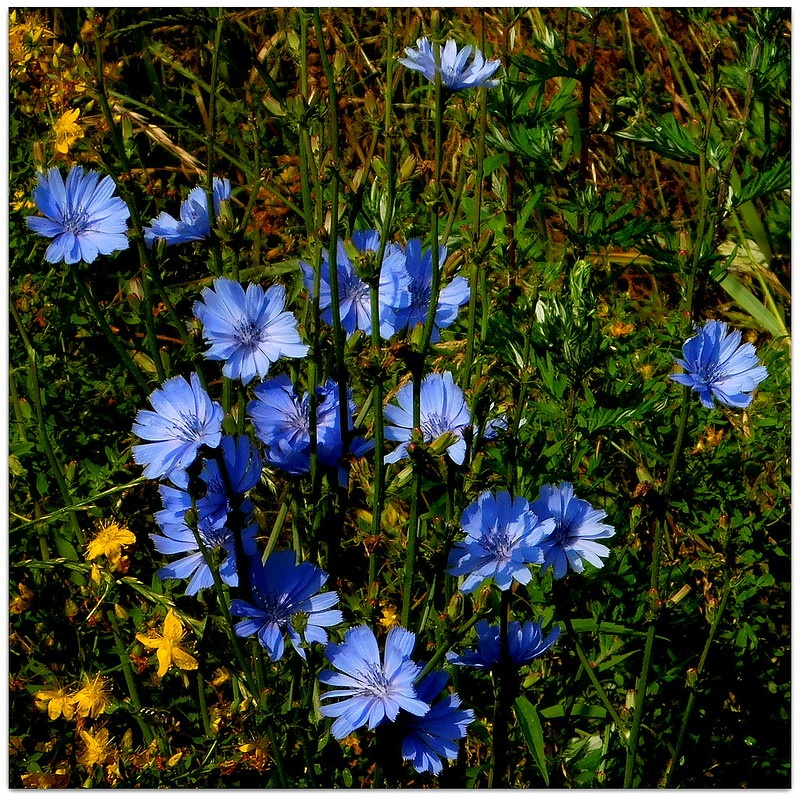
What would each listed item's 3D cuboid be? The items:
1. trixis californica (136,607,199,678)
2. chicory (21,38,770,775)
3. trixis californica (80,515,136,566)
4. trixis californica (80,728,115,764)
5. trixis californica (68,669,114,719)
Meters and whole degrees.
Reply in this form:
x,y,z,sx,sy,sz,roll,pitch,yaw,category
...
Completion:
x,y,z,sx,sy,sz,roll,pitch,yaw,category
-0.469,0.458,1.908,0.060,0.194,0.138,-7,-19,34,trixis californica
-0.026,0.055,1.970,1.150,1.732,1.066,-5,7,-6,chicory
-0.611,0.313,1.974,0.085,0.108,0.049,-7,24,-42,trixis californica
-0.615,0.723,1.918,0.061,0.043,0.077,8,48,-2,trixis californica
-0.615,0.596,1.884,0.078,0.060,0.107,0,45,-6,trixis californica
